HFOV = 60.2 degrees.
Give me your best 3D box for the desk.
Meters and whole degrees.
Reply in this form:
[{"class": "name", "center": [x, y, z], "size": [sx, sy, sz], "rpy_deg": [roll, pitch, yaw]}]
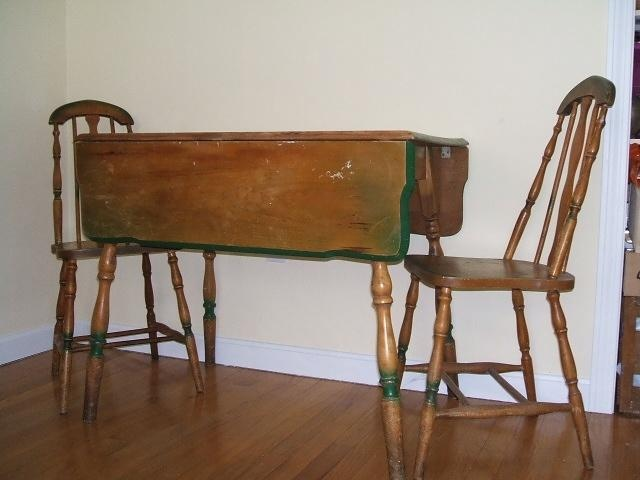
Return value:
[{"class": "desk", "center": [-0.143, -0.100, 2.672], "size": [1.820, 1.616, 1.209], "rpy_deg": [3, 6, 18]}]
